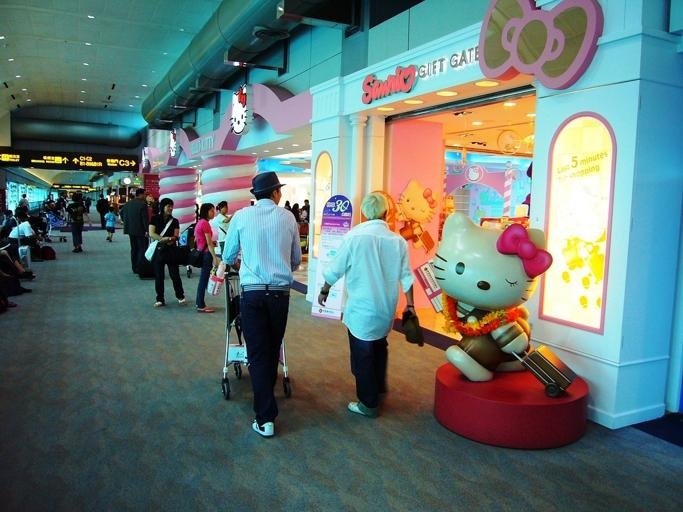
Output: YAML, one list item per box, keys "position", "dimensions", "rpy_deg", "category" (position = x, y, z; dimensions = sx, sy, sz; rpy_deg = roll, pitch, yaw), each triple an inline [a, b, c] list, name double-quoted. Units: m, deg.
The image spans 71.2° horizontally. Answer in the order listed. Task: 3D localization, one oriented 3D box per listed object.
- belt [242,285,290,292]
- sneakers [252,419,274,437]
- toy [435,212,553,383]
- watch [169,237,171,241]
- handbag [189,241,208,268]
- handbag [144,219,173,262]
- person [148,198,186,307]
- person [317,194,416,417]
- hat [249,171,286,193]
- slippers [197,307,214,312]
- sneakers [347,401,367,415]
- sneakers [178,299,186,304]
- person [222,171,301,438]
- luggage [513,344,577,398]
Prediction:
- position: [-0.550, 0.228, 3.467]
  dimensions: [0.341, 0.070, 0.107]
  rpy_deg: [0, 9, -11]
  category: "belt"
- position: [-0.565, 1.236, 3.468]
  dimensions: [0.167, 0.110, 0.160]
  rpy_deg: [0, 9, -11]
  category: "sneakers"
- position: [1.106, 0.324, 3.635]
  dimensions: [0.810, 1.284, 0.386]
  rpy_deg: [3, 8, 12]
  category: "toy"
- position: [-2.422, -0.261, 6.732]
  dimensions: [0.030, 0.030, 0.031]
  rpy_deg: [0, -3, 11]
  category: "watch"
- position: [-1.969, -0.059, 6.493]
  dimensions: [0.202, 0.390, 0.358]
  rpy_deg: [3, 3, -29]
  category: "handbag"
- position: [-2.630, -0.238, 6.835]
  dimensions: [0.349, 0.571, 0.307]
  rpy_deg: [-1, 8, -16]
  category: "handbag"
- position: [-2.512, -0.070, 6.924]
  dimensions: [0.527, 1.631, 0.513]
  rpy_deg: [-1, 1, -38]
  category: "person"
- position: [0.204, 0.373, 3.810]
  dimensions: [0.728, 1.747, 0.376]
  rpy_deg: [2, 8, 2]
  category: "person"
- position: [-0.555, -0.590, 3.640]
  dimensions: [0.153, 0.083, 0.208]
  rpy_deg: [-8, 22, 25]
  category: "hat"
- position: [-1.918, 0.726, 6.720]
  dimensions: [0.223, 0.097, 0.090]
  rpy_deg: [0, 5, -14]
  category: "slippers"
- position: [0.123, 1.207, 3.837]
  dimensions: [0.065, 0.074, 0.164]
  rpy_deg: [4, 8, -42]
  category: "sneakers"
- position: [-2.412, 0.672, 7.191]
  dimensions: [0.063, 0.061, 0.128]
  rpy_deg: [0, -1, -19]
  category: "sneakers"
- position: [-0.636, 0.314, 3.563]
  dimensions: [0.575, 1.891, 0.545]
  rpy_deg: [2, 8, 8]
  category: "person"
- position: [1.502, 0.828, 3.557]
  dimensions: [0.380, 0.225, 0.283]
  rpy_deg: [42, 12, 22]
  category: "luggage"
